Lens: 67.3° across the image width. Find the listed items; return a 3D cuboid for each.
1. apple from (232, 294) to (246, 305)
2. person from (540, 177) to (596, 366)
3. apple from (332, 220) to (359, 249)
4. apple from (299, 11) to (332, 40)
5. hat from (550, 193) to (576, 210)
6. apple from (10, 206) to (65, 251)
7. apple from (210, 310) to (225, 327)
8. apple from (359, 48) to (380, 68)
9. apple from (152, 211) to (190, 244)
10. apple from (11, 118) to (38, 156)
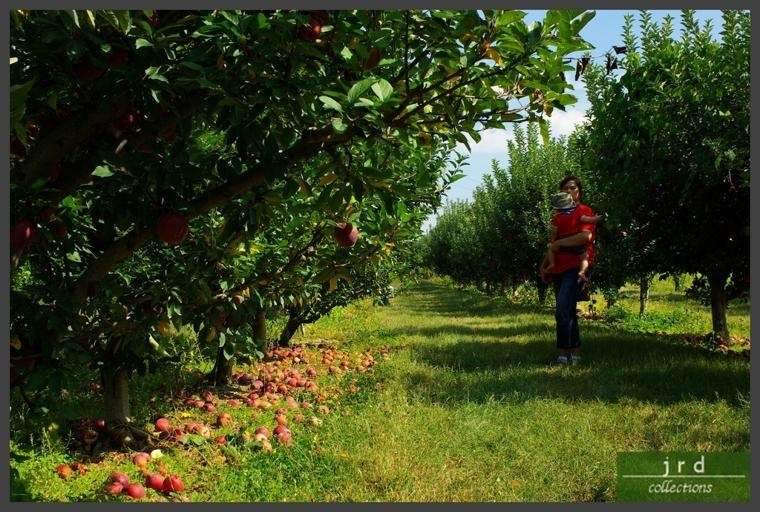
[{"bbox_3d":[-0.990,0.301,4.013,0.074,0.040,0.071,11,3,-21],"label":"apple"},{"bbox_3d":[2.081,0.129,6.337,0.553,2.045,0.614,1,5,15],"label":"person"},{"bbox_3d":[-0.176,-0.115,3.128,0.128,0.141,0.122,-23,21,-19],"label":"apple"},{"bbox_3d":[-0.300,-1.092,2.684,0.081,0.103,0.175,-6,37,39],"label":"apple"},{"bbox_3d":[2.026,-0.603,6.241,0.252,0.195,0.218,1,5,16],"label":"hat"},{"bbox_3d":[-1.736,-0.129,2.881,0.277,0.152,0.100,-26,28,39],"label":"apple"},{"bbox_3d":[-1.110,0.428,3.924,0.082,0.122,0.207,-2,4,-15],"label":"apple"},{"bbox_3d":[-0.049,-0.970,2.766,0.095,0.119,0.049,9,-3,13],"label":"apple"},{"bbox_3d":[-1.040,-0.147,2.861,0.165,0.189,0.153,0,7,-6],"label":"apple"},{"bbox_3d":[-1.820,-0.604,2.921,0.128,0.178,0.153,-3,5,-30],"label":"apple"}]
